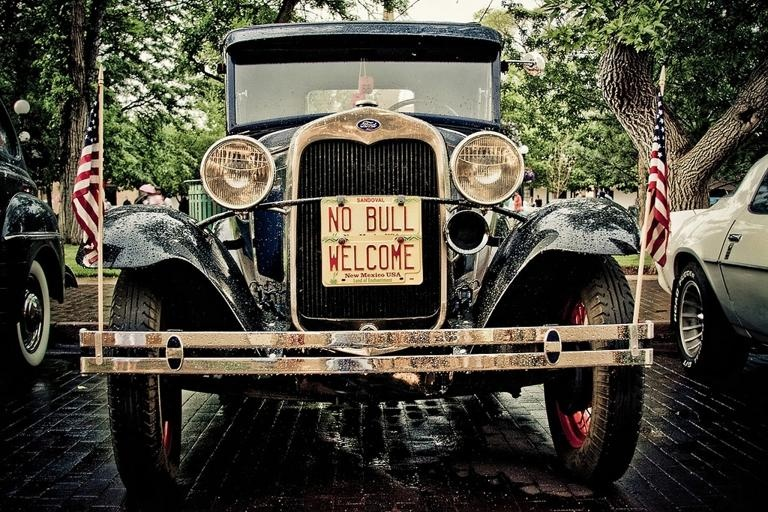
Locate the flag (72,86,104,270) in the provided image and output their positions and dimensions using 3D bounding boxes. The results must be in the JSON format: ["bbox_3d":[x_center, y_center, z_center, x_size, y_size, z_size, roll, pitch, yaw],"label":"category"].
[{"bbox_3d":[-2.352,-0.565,5.894,0.247,1.343,0.510,-5,13,-22],"label":"flag"}]

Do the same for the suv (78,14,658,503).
[{"bbox_3d":[-0.232,-0.202,6.941,4.579,3.945,2.860,-1,12,-3],"label":"suv"}]

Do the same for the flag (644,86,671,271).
[{"bbox_3d":[2.309,-0.597,6.214,0.198,1.511,0.910,4,13,20],"label":"flag"}]
